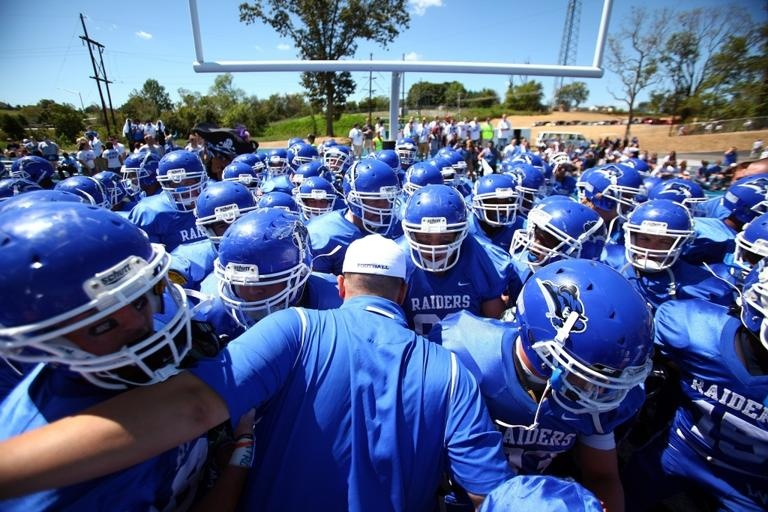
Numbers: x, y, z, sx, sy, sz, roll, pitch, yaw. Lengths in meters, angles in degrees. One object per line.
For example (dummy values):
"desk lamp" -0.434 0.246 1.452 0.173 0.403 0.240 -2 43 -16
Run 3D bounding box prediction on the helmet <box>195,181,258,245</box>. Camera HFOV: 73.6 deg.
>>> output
"helmet" -1.521 -0.467 5.017 0.479 0.506 0.606 -22 20 0

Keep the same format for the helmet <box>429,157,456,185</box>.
"helmet" 0.891 -1.205 7.332 0.413 0.370 0.330 22 46 29

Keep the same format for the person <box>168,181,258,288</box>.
"person" -1.530 -0.087 5.154 0.858 1.138 1.146 -12 -6 -13

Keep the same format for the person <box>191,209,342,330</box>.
"person" -0.833 0.011 3.986 0.682 0.777 0.991 7 27 34

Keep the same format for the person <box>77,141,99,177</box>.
"person" -7.526 -2.523 13.039 0.457 0.953 0.746 -15 27 -28

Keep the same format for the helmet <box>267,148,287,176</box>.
"helmet" -1.852 -1.760 9.425 0.402 0.482 0.543 -1 10 -2

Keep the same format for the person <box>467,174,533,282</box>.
"person" 1.397 -0.565 6.113 0.709 0.997 1.021 -2 8 8

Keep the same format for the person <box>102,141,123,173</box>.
"person" -6.812 -2.550 12.904 0.408 0.776 0.241 -13 40 -27

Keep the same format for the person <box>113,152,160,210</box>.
"person" -3.442 -1.153 7.304 0.539 0.706 0.735 -2 12 40

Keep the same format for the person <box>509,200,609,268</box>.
"person" 1.660 -0.266 4.840 0.747 0.645 0.614 4 24 -4

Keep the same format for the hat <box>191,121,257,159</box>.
"hat" -2.744 -2.107 9.226 1.219 0.430 0.832 12 16 -35

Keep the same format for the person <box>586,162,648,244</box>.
"person" 2.925 -0.709 6.527 0.870 0.935 0.752 10 -1 29

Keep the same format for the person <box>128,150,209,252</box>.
"person" -2.414 -0.616 5.997 0.625 1.344 0.979 3 -5 44

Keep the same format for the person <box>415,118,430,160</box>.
"person" 1.369 -4.118 17.988 0.503 1.385 0.778 -1 23 3

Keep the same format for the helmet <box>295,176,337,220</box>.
"helmet" -0.796 -0.676 6.299 0.518 0.474 0.562 -12 1 -27

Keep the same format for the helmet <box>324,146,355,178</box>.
"helmet" -0.788 -1.667 8.937 0.468 0.530 0.667 0 4 11
